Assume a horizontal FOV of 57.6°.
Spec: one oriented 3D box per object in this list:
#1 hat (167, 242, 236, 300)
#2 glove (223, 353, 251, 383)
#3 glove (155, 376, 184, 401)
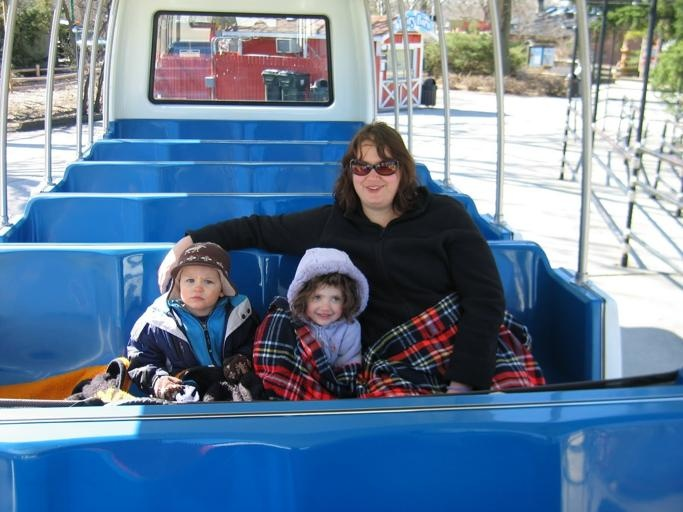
[{"bbox_3d":[-0.554,0.039,2.421,0.197,0.161,0.260,2,-29,-3],"label":"hat"},{"bbox_3d":[-0.402,0.434,2.380,0.084,0.117,0.045,11,-16,-8],"label":"glove"},{"bbox_3d":[-0.628,0.477,2.244,0.068,0.040,0.094,-19,2,-5],"label":"glove"}]
